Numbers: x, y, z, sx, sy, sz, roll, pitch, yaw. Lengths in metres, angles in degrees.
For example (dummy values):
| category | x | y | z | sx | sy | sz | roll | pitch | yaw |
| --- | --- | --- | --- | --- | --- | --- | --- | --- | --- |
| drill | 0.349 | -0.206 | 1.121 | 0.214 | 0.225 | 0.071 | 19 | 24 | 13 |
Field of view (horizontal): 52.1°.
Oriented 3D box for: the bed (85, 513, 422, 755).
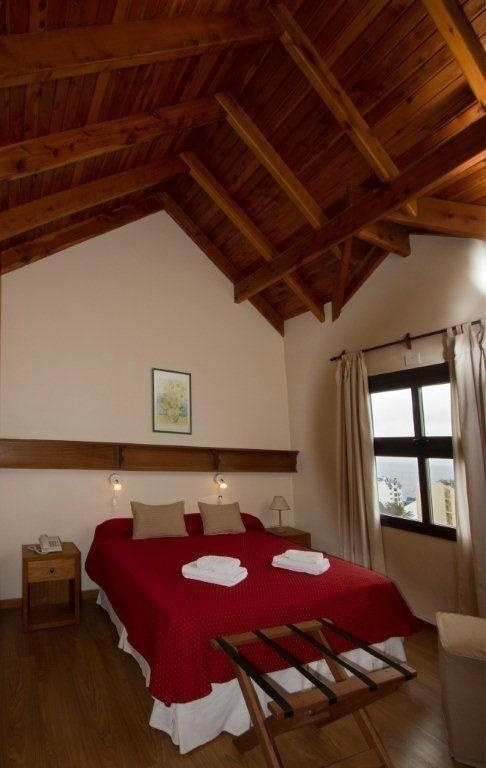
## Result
| category | x | y | z | sx | sy | sz | roll | pitch | yaw |
| --- | --- | --- | --- | --- | --- | --- | --- | --- | --- |
| bed | -0.290 | 1.265 | 2.919 | 1.063 | 0.513 | 1.347 | 3 | -10 | -30 |

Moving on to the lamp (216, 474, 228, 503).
| category | x | y | z | sx | sy | sz | roll | pitch | yaw |
| --- | --- | --- | --- | --- | --- | --- | --- | --- | --- |
| lamp | -0.234 | 1.119 | 5.355 | 0.156 | 0.302 | 0.037 | 7 | -10 | -42 |

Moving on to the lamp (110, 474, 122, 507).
| category | x | y | z | sx | sy | sz | roll | pitch | yaw |
| --- | --- | --- | --- | --- | --- | --- | --- | --- | --- |
| lamp | -1.198 | 0.996 | 4.685 | 0.035 | 0.311 | 0.120 | -6 | -10 | 42 |

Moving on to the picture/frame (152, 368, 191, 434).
| category | x | y | z | sx | sy | sz | roll | pitch | yaw |
| --- | --- | --- | --- | --- | --- | --- | --- | --- | --- |
| picture/frame | -0.757 | 0.191 | 5.146 | 0.576 | 0.843 | 0.032 | 9 | -15 | -44 |

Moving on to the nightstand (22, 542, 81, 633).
| category | x | y | z | sx | sy | sz | roll | pitch | yaw |
| --- | --- | --- | --- | --- | --- | --- | --- | --- | --- |
| nightstand | -1.516 | 1.554 | 3.915 | 0.418 | 0.526 | 0.678 | 3 | -8 | -24 |
